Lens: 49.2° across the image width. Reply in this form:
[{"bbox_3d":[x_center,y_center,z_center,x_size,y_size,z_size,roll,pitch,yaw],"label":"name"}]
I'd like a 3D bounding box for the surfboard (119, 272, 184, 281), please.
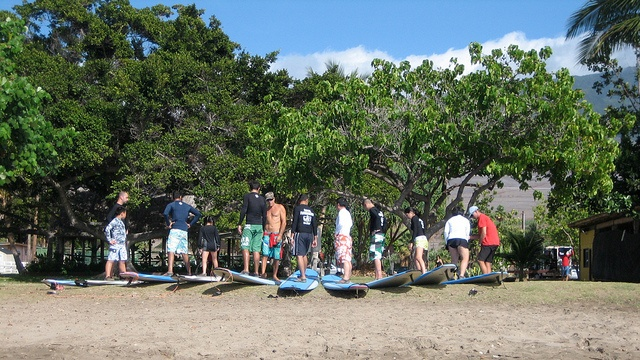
[{"bbox_3d":[-7.726,4.382,31.951,2.812,0.402,0.679,8,-6,-23],"label":"surfboard"}]

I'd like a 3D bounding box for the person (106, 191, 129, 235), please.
[{"bbox_3d":[-9.224,1.196,31.930,0.792,1.617,2.292,1,-11,-14],"label":"person"}]

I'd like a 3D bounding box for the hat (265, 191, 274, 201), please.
[{"bbox_3d":[-2.192,0.711,30.873,0.406,0.313,0.678,4,-2,4],"label":"hat"}]

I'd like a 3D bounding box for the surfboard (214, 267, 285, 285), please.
[{"bbox_3d":[-3.290,4.487,32.899,3.343,0.444,0.880,20,-27,-30],"label":"surfboard"}]

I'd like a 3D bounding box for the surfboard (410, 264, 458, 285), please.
[{"bbox_3d":[5.159,4.208,31.035,0.797,0.381,2.631,12,-31,-19],"label":"surfboard"}]

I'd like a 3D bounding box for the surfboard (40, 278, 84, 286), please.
[{"bbox_3d":[-11.791,4.634,31.869,1.398,0.315,1.077,2,-12,-17],"label":"surfboard"}]

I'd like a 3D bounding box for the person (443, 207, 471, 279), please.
[{"bbox_3d":[6.161,2.754,31.285,1.057,3.194,1.036,-3,-10,10],"label":"person"}]

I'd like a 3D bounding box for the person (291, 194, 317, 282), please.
[{"bbox_3d":[-0.715,2.473,30.648,1.081,3.776,1.512,-2,-10,8],"label":"person"}]
